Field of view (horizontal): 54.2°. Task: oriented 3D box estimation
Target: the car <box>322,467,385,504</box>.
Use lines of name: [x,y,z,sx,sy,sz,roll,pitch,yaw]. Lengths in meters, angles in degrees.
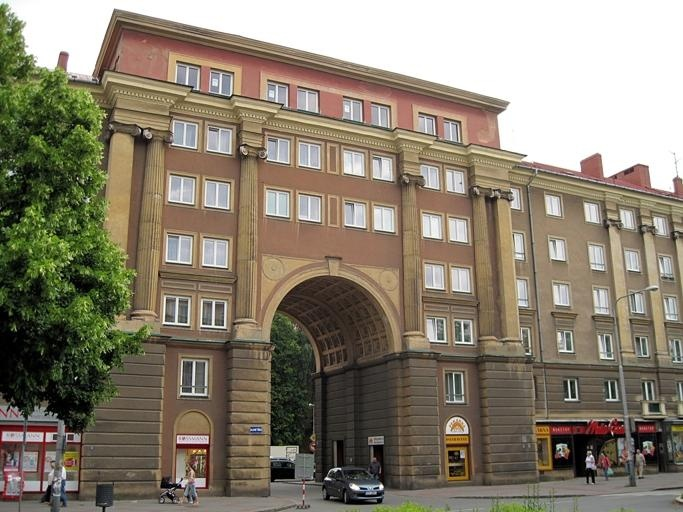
car: [0.645,12.539,36.858,1.766,1.325,3.246,8,-25,-20]
